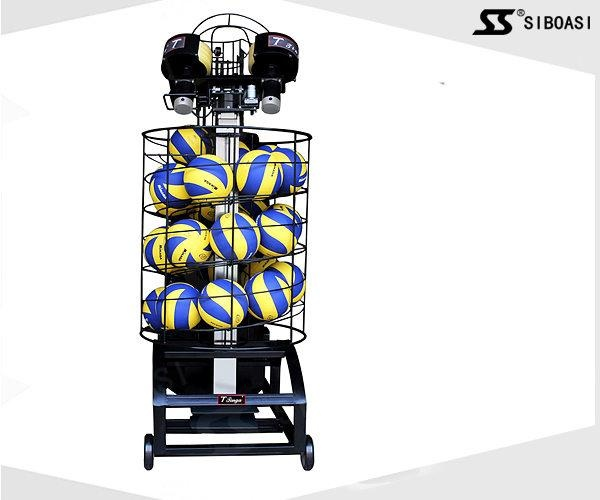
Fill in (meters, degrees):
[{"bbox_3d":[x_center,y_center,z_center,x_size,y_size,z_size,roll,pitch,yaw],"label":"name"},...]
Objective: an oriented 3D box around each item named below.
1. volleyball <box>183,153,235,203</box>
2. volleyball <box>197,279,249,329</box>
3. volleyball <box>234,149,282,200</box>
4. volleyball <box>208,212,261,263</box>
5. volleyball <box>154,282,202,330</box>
[{"bbox_3d":[-0.413,-0.328,4.632,0.255,0.233,0.223,4,12,12],"label":"volleyball"},{"bbox_3d":[-0.353,0.253,4.679,0.249,0.232,0.236,7,13,26],"label":"volleyball"},{"bbox_3d":[-0.155,-0.328,4.650,0.254,0.230,0.223,3,5,9],"label":"volleyball"},{"bbox_3d":[-0.299,-0.062,4.665,0.233,0.232,0.211,-4,-11,-3],"label":"volleyball"},{"bbox_3d":[-0.545,0.256,4.763,0.230,0.211,0.210,2,10,14],"label":"volleyball"}]
